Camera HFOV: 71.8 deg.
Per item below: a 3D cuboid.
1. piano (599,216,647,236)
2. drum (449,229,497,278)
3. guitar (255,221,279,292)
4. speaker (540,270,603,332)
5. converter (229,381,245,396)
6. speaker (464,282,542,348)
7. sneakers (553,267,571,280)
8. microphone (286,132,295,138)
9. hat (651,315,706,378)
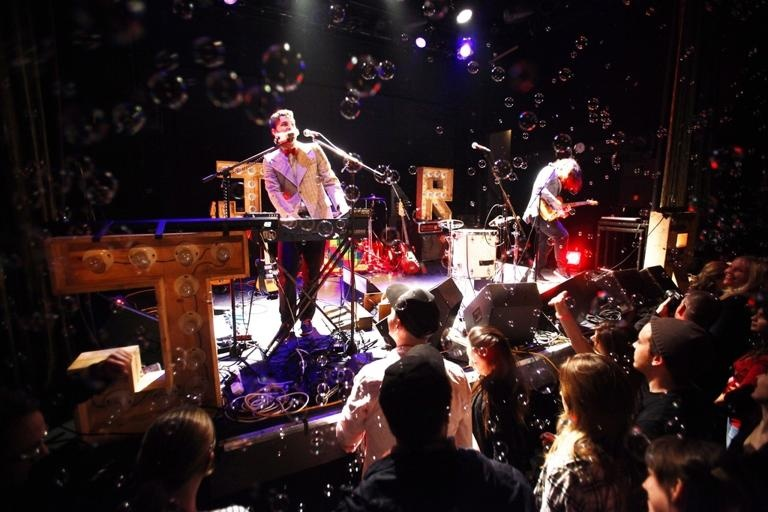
[{"bbox_3d":[3.773,-0.477,8.383,0.234,0.280,0.946,-3,2,-14],"label":"piano"},{"bbox_3d":[1.428,-0.053,8.548,0.706,0.718,0.735,1,5,-14],"label":"drum"},{"bbox_3d":[-1.702,0.000,7.560,0.305,1.369,0.177,8,-43,-26],"label":"guitar"},{"bbox_3d":[2.205,0.415,6.355,0.933,0.680,0.508,-6,15,-23],"label":"speaker"},{"bbox_3d":[-1.448,1.308,5.214,0.102,0.108,0.106,-20,14,14],"label":"converter"},{"bbox_3d":[1.459,0.548,5.954,0.629,0.574,0.642,-2,4,22],"label":"speaker"},{"bbox_3d":[2.850,0.298,8.521,0.183,0.188,0.290,-4,9,-7],"label":"sneakers"},{"bbox_3d":[-0.973,-1.252,5.535,0.049,0.024,0.069,2,2,15],"label":"microphone"},{"bbox_3d":[2.600,0.828,4.800,0.367,0.518,0.406,1,-16,5],"label":"hat"}]
